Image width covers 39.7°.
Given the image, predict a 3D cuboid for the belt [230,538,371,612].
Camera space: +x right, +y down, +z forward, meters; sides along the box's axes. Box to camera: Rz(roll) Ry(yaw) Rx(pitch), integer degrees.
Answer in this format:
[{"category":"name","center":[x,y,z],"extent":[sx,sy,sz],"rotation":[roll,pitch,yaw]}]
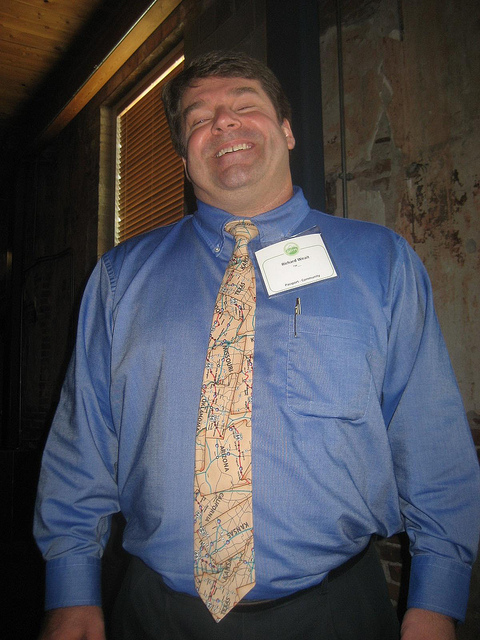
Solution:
[{"category":"belt","center":[0.093,0.507,1.349],"extent":[0.178,0.090,0.156],"rotation":[6,-1,-25]}]
